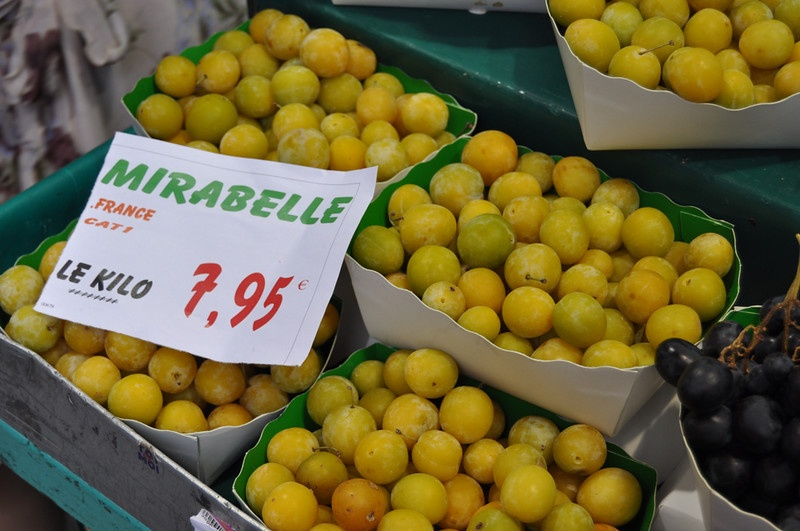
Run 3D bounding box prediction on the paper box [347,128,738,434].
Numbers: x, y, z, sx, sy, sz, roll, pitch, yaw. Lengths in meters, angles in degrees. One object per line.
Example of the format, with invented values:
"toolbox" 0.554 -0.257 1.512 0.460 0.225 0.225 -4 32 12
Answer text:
"paper box" 0.185 0.125 1.388 0.580 0.208 0.492 28 54 24
